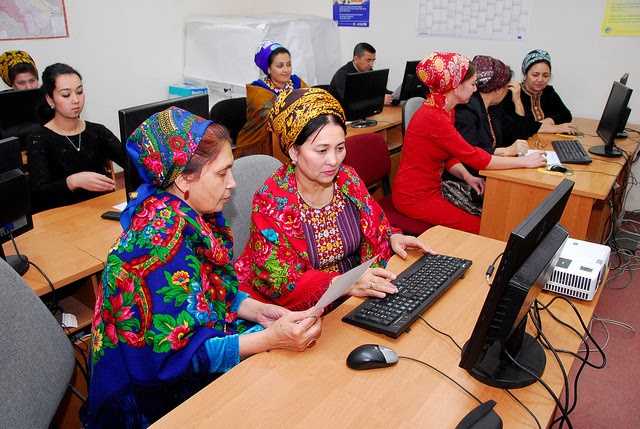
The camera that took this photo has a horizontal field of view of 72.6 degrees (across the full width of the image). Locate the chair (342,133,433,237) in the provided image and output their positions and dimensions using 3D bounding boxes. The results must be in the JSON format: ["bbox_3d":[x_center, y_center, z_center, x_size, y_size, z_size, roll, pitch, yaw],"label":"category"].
[{"bbox_3d":[0.428,-0.179,2.678,0.419,0.709,0.432,-23,31,-38],"label":"chair"}]

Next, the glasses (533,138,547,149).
[{"bbox_3d":[1.702,-0.537,3.396,0.104,0.029,0.102,-49,40,-11],"label":"glasses"}]

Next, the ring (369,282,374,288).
[{"bbox_3d":[0.207,0.284,1.749,0.016,0.008,0.019,-10,62,28],"label":"ring"}]

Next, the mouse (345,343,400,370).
[{"bbox_3d":[0.180,0.487,1.527,0.145,0.048,0.084,-7,29,0],"label":"mouse"}]

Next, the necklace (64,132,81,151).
[{"bbox_3d":[-1.631,-0.477,2.874,0.016,0.158,0.103,-28,0,25],"label":"necklace"}]

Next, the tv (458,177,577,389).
[{"bbox_3d":[0.708,0.257,1.490,0.535,0.589,0.250,-23,32,-37],"label":"tv"}]

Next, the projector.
[{"bbox_3d":[1.072,0.216,1.821,0.225,0.129,0.311,9,41,43],"label":"projector"}]

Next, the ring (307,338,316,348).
[{"bbox_3d":[-0.031,0.477,1.610,0.034,0.010,0.029,-45,-4,12],"label":"ring"}]

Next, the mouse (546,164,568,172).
[{"bbox_3d":[1.534,-0.297,2.827,0.089,0.030,0.057,-2,20,-17],"label":"mouse"}]
